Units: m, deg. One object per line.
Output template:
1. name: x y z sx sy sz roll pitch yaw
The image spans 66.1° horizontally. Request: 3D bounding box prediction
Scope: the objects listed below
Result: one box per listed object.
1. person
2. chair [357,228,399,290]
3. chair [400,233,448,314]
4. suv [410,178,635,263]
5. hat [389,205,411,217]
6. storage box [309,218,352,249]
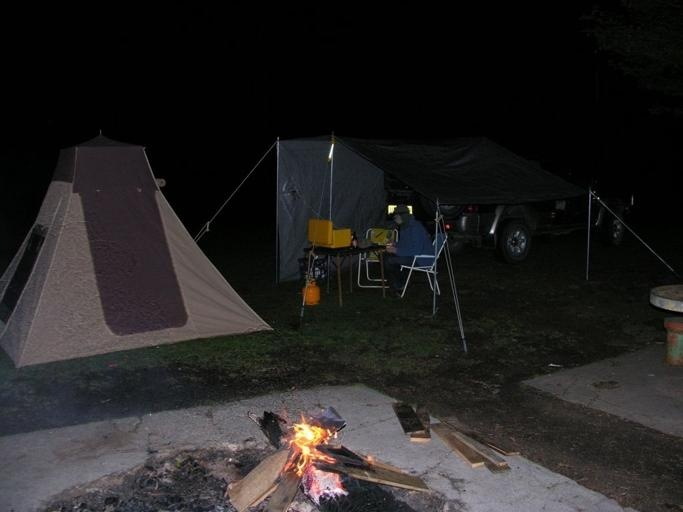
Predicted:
1. person: 1.254 -0.139 9.655 0.908 1.552 0.812 4 19 11
2. chair: 0.572 0.051 9.512 0.619 0.959 0.688 -1 9 21
3. chair: 1.492 0.196 9.309 0.641 1.072 0.743 -5 15 -17
4. suv: 5.114 -0.938 13.112 4.121 1.952 1.827 -6 -2 -5
5. hat: 1.078 -0.831 9.687 0.418 0.184 0.601 -2 1 1
6. storage box: -0.187 -0.502 9.083 0.492 0.492 0.699 -6 10 -34
